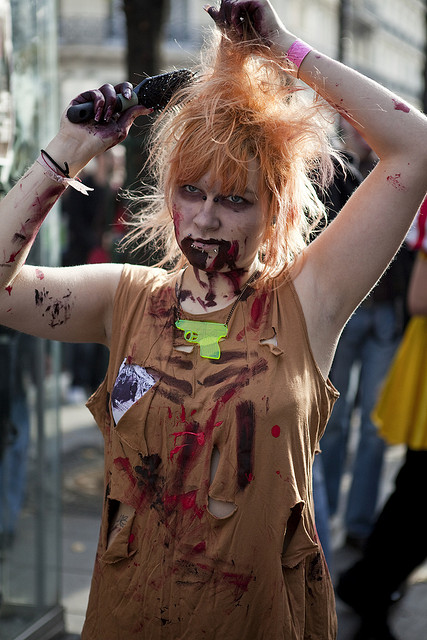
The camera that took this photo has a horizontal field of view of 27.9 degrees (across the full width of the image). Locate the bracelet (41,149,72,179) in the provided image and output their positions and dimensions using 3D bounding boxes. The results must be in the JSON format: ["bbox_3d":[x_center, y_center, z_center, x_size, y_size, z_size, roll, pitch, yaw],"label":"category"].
[{"bbox_3d":[-0.369,-0.369,2.020,0.065,0.017,0.049,41,1,5],"label":"bracelet"}]

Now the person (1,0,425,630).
[{"bbox_3d":[0.010,-0.003,2.108,0.786,1.496,0.752,17,23,35],"label":"person"}]
